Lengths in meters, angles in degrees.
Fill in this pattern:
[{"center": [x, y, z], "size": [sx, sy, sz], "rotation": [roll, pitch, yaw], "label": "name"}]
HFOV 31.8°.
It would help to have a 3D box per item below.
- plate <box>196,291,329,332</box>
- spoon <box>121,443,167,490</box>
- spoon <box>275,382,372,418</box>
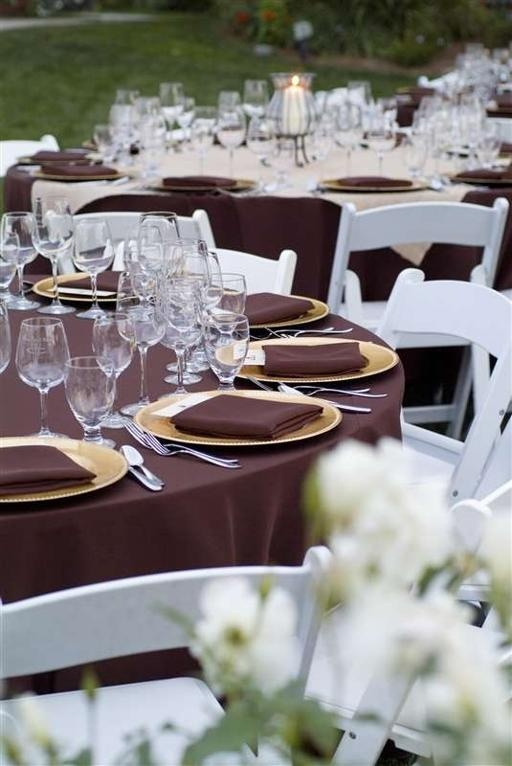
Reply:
[{"center": [0.016, -0.160, 1.663], "size": [0.253, 0.075, 0.181], "rotation": [2, 18, 7], "label": "plate"}, {"center": [-0.128, 0.099, 1.021], "size": [0.023, 0.013, 0.094], "rotation": [-8, 27, -24], "label": "spoon"}, {"center": [0.093, 0.026, 1.258], "size": [0.145, 0.018, 0.021], "rotation": [11, 10, 18], "label": "spoon"}]
